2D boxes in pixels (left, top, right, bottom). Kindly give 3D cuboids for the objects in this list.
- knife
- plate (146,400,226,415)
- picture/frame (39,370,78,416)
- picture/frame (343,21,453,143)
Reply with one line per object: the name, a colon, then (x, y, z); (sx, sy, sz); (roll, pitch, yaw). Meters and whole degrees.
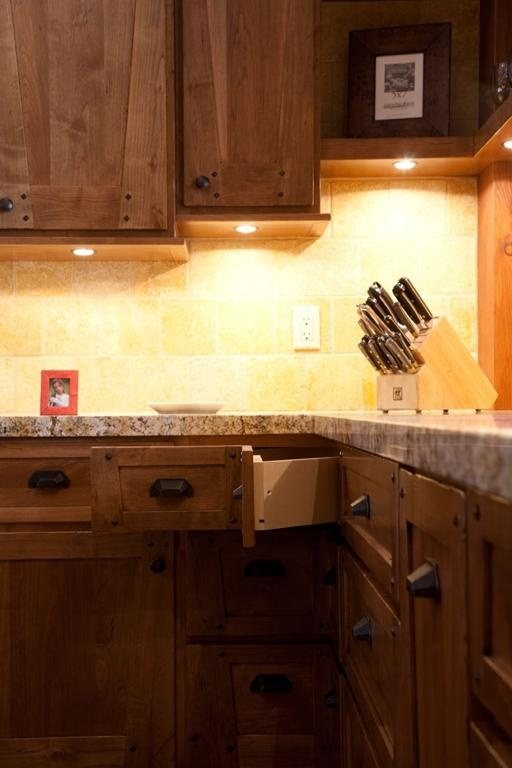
knife: (0.266, -0.111, 1.310); (0.048, 0.198, 0.144); (-16, 18, -22)
plate: (-0.150, 0.051, 1.492); (0.155, 0.024, 0.054); (-2, -3, -3)
picture/frame: (-0.441, 0.021, 1.561); (0.090, 0.117, 0.009); (-1, -9, -5)
picture/frame: (0.352, -0.743, 1.736); (0.230, 0.297, 0.011); (1, -9, 7)
